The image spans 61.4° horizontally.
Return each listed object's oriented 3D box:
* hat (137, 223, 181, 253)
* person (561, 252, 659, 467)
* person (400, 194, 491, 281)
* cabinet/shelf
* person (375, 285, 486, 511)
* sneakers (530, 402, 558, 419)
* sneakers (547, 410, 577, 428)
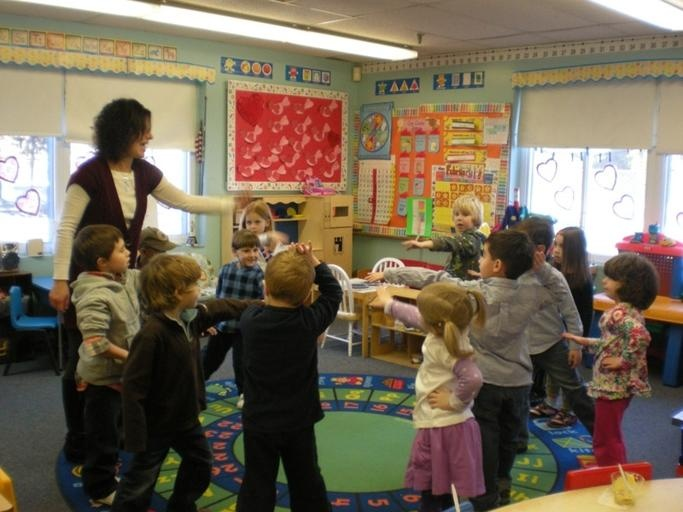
[{"bbox_3d":[-1.410,-0.129,4.459,0.266,0.144,0.177,12,17,-5],"label":"hat"},{"bbox_3d":[1.693,0.626,3.540,0.422,1.275,0.406,-3,7,-29],"label":"person"},{"bbox_3d":[0.840,0.004,4.738,0.650,1.053,0.425,6,36,15],"label":"person"},{"bbox_3d":[-0.536,-0.220,5.557,1.135,1.053,0.367,-1,2,-30],"label":"cabinet/shelf"},{"bbox_3d":[0.468,0.718,2.898,0.531,1.181,0.284,2,6,14],"label":"person"},{"bbox_3d":[1.618,1.233,4.595,0.203,0.087,0.101,-2,2,1],"label":"sneakers"},{"bbox_3d":[1.706,1.248,4.439,0.251,0.103,0.100,4,-5,-39],"label":"sneakers"}]
